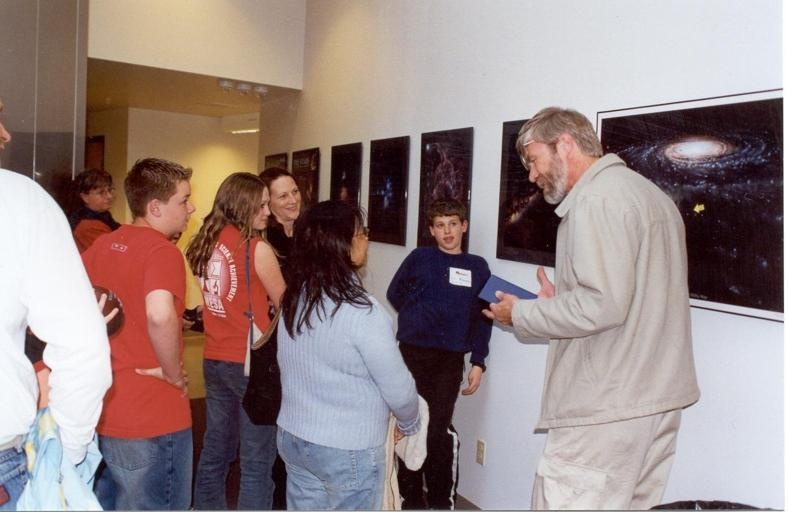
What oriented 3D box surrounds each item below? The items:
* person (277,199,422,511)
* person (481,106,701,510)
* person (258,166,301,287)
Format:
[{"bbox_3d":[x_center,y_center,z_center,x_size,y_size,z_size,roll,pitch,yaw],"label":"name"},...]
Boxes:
[{"bbox_3d":[-0.209,0.468,2.601,0.642,1.418,0.316,0,5,-6],"label":"person"},{"bbox_3d":[0.925,0.232,2.587,0.826,1.833,0.424,4,6,28],"label":"person"},{"bbox_3d":[-0.746,-0.194,3.826,0.274,0.261,0.780,5,46,-2],"label":"person"}]
